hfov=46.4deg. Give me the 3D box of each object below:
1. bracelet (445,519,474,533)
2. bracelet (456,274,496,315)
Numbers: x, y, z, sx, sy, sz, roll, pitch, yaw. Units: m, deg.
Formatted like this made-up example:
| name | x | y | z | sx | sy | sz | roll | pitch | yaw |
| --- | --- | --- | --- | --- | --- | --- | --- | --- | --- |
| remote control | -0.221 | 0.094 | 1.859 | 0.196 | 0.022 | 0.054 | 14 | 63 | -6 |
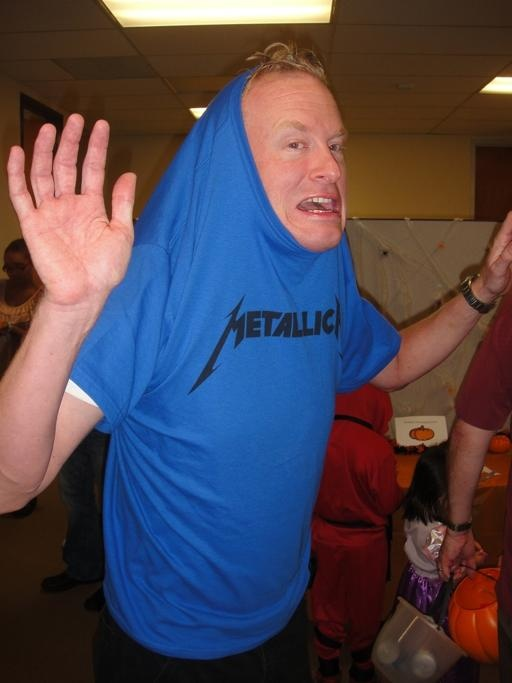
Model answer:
| name | x | y | z | sx | sy | sz | roll | pitch | yaw |
| --- | --- | --- | --- | --- | --- | --- | --- | --- | --- |
| bracelet | 0.506 | 0.459 | 1.484 | 0.041 | 0.035 | 0.041 | 8 | 3 | 40 |
| bracelet | 0.468 | -0.108 | 1.266 | 0.084 | 0.096 | 0.039 | 23 | 59 | 36 |
